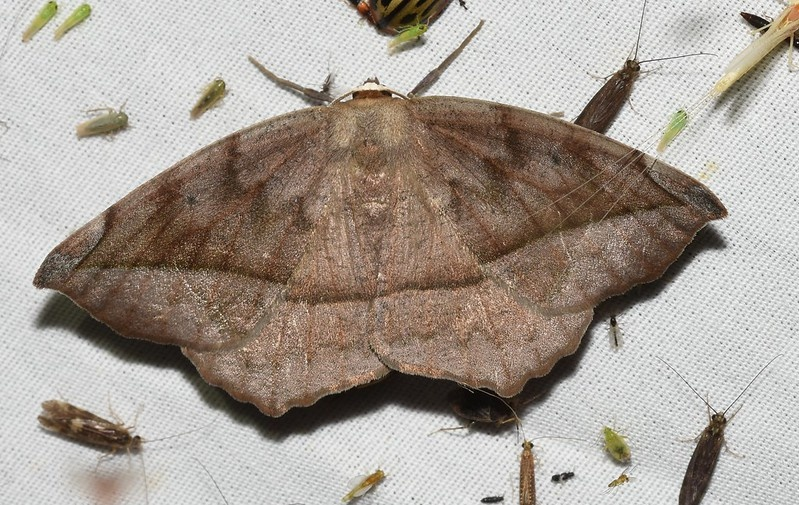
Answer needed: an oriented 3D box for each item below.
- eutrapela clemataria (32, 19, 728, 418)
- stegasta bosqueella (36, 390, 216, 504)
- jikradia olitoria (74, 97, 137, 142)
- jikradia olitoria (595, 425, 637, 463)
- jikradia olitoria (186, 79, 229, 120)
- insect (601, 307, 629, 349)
[{"bbox_3d":[-0.129,-0.028,5.665,4.066,0.788,1.928,-6,75,-1],"label":"eutrapela clemataria"},{"bbox_3d":[-2.150,1.481,6.246,1.467,0.266,0.828,23,92,-6],"label":"stegasta bosqueella"},{"bbox_3d":[-2.294,-1.002,6.203,0.320,0.100,0.242,-11,91,-4],"label":"jikradia olitoria"},{"bbox_3d":[1.695,1.523,6.310,0.327,0.105,0.200,34,78,9],"label":"jikradia olitoria"},{"bbox_3d":[-1.484,-1.171,6.248,0.207,0.120,0.327,39,96,-6],"label":"jikradia olitoria"},{"bbox_3d":[1.676,0.611,6.286,0.167,0.067,0.253,-2,97,-3],"label":"insect"}]
